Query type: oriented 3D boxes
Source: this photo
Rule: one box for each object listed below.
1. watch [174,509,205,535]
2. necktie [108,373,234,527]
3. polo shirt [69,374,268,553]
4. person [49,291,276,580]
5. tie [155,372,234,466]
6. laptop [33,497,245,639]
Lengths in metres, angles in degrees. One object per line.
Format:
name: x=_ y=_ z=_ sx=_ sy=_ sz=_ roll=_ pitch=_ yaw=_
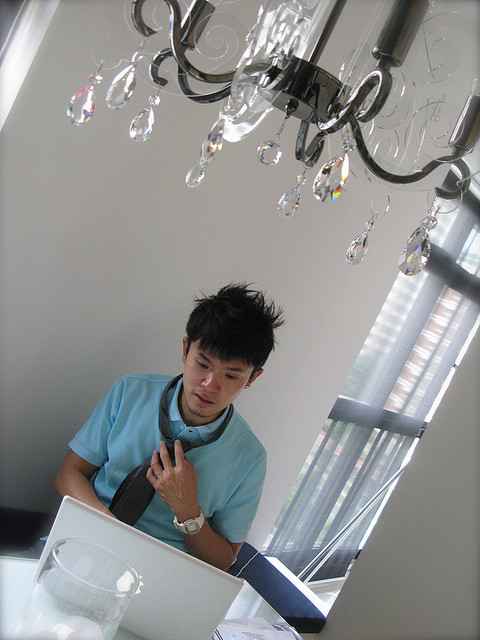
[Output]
watch: x=-0.120 y=0.486 z=1.256 sx=0.061 sy=0.045 sz=0.067 roll=-4 pitch=-10 yaw=-16
necktie: x=-0.182 y=0.293 z=1.371 sx=0.141 sy=0.457 sz=0.036 roll=27 pitch=-35 yaw=3
polo shirt: x=-0.185 y=0.350 z=1.310 sx=0.389 sy=0.319 sz=0.216 roll=34 pitch=9 yaw=-8
person: x=-0.214 y=0.261 z=1.324 sx=0.414 sy=0.751 sz=0.475 roll=27 pitch=24 yaw=-6
tie: x=-0.145 y=0.244 z=1.388 sx=0.161 sy=0.235 sz=0.089 roll=23 pitch=-8 yaw=5
laptop: x=-0.162 y=0.377 z=0.871 sx=0.308 sy=0.213 sz=0.216 roll=33 pitch=-21 yaw=-15
